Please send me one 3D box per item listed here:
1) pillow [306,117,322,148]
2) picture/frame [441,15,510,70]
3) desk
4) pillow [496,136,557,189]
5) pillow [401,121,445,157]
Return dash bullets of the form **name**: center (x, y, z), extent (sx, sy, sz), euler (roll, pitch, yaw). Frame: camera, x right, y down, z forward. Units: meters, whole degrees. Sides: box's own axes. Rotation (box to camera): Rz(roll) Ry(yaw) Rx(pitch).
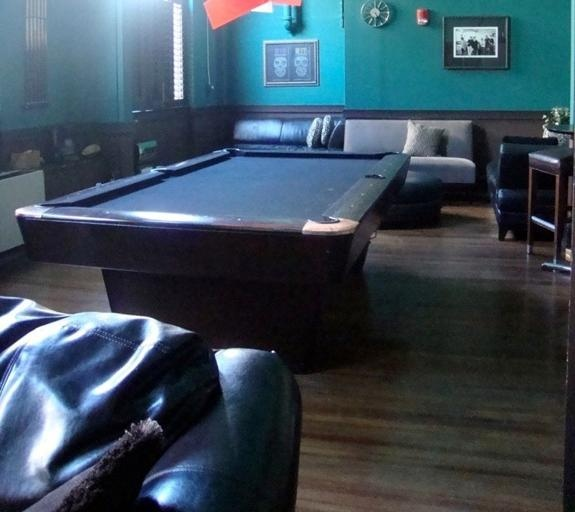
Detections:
- **pillow**: center (0.396, -1.805, 7.102), extent (0.232, 0.445, 0.310), euler (5, 12, 1)
- **picture/frame**: center (2.527, -2.858, 6.417), extent (0.627, 0.576, 0.070), euler (1, 6, 0)
- **desk**: center (-0.215, -0.108, 2.631), extent (1.541, 0.888, 1.636), euler (9, 14, 12)
- **pillow**: center (2.113, -0.854, 4.379), extent (0.493, 0.525, 0.495), euler (4, 14, 19)
- **pillow**: center (1.810, -1.536, 6.360), extent (0.564, 0.473, 0.555), euler (9, 13, 17)
